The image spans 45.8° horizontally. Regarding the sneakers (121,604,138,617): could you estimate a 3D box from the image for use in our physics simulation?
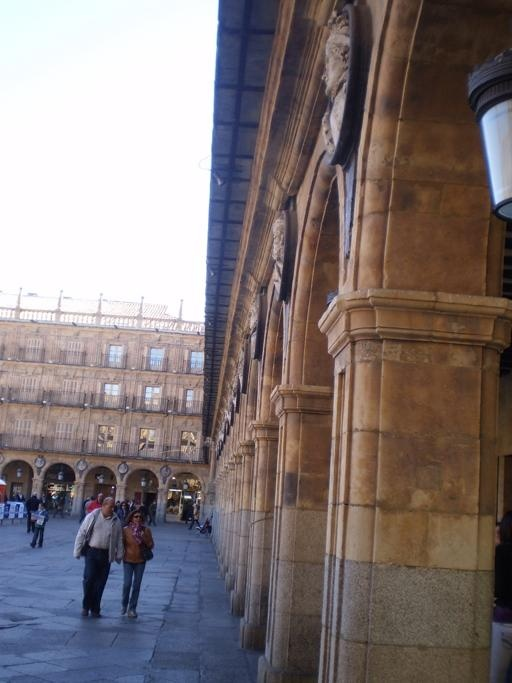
[{"bbox_3d":[-1.824,3.906,8.775,0.118,0.145,0.331,10,-14,-19],"label":"sneakers"}]

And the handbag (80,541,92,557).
[{"bbox_3d":[-2.399,2.917,8.484,0.129,0.195,0.257,6,-11,-27],"label":"handbag"}]

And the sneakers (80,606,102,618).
[{"bbox_3d":[-2.286,3.805,8.483,0.285,0.134,0.357,5,-10,-22],"label":"sneakers"}]

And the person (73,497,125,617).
[{"bbox_3d":[-2.214,3.076,8.577,0.676,1.656,0.842,3,-10,-15],"label":"person"}]
